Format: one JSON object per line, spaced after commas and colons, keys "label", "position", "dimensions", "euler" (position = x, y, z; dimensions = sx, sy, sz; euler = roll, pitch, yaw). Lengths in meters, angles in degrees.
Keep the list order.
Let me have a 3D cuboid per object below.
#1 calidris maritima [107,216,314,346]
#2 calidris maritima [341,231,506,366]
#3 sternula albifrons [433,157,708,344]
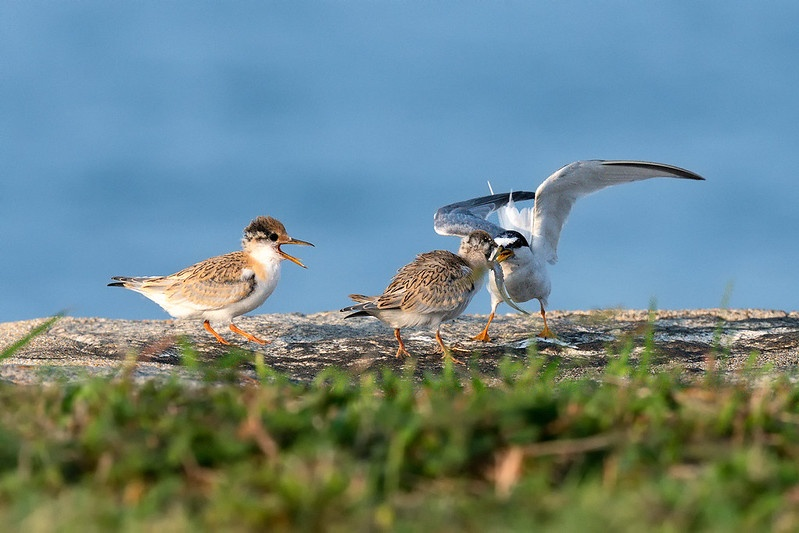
{"label": "calidris maritima", "position": [-1.647, 0.157, 8.391], "dimensions": [1.374, 1.707, 1.728], "euler": [1, -1, 39]}
{"label": "calidris maritima", "position": [0.184, 0.217, 7.128], "dimensions": [1.451, 0.973, 0.640], "euler": [0, 0, -28]}
{"label": "sternula albifrons", "position": [1.426, -0.176, 10.232], "dimensions": [3.792, 1.679, 3.538], "euler": [-10, 6, 8]}
